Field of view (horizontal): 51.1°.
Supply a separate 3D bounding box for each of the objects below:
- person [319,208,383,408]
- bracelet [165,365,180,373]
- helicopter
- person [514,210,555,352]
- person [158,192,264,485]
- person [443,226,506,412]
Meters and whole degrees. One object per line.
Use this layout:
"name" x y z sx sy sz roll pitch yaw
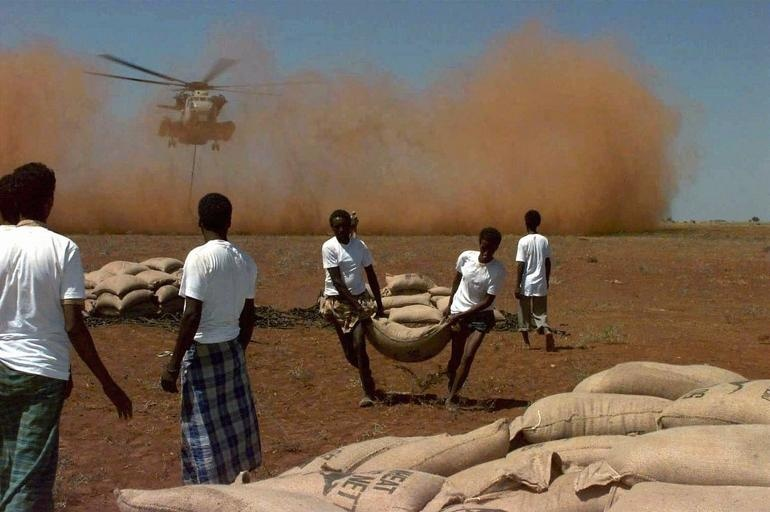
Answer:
"person" -0.411 0.614 9.784 0.768 2.369 0.591 2 10 -6
"bracelet" -1.962 1.057 7.431 0.108 0.057 0.023 1 10 -10
"helicopter" -5.985 -4.586 25.331 5.237 2.562 5.862 5 13 -6
"person" 2.273 0.354 12.052 0.679 2.121 0.860 5 10 11
"person" -1.602 0.996 7.470 0.869 2.251 0.535 0 11 -18
"person" 1.031 0.724 9.580 0.604 2.186 0.614 2 10 -4
